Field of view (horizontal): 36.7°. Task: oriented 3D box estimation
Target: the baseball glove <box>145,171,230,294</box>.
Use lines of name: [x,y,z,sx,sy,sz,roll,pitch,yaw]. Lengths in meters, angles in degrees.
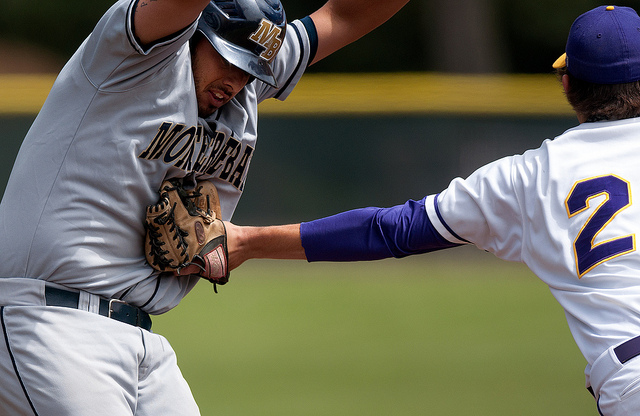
baseball glove: [-0.767,0.148,5.415,0.482,0.647,0.222,19,-51,-29]
